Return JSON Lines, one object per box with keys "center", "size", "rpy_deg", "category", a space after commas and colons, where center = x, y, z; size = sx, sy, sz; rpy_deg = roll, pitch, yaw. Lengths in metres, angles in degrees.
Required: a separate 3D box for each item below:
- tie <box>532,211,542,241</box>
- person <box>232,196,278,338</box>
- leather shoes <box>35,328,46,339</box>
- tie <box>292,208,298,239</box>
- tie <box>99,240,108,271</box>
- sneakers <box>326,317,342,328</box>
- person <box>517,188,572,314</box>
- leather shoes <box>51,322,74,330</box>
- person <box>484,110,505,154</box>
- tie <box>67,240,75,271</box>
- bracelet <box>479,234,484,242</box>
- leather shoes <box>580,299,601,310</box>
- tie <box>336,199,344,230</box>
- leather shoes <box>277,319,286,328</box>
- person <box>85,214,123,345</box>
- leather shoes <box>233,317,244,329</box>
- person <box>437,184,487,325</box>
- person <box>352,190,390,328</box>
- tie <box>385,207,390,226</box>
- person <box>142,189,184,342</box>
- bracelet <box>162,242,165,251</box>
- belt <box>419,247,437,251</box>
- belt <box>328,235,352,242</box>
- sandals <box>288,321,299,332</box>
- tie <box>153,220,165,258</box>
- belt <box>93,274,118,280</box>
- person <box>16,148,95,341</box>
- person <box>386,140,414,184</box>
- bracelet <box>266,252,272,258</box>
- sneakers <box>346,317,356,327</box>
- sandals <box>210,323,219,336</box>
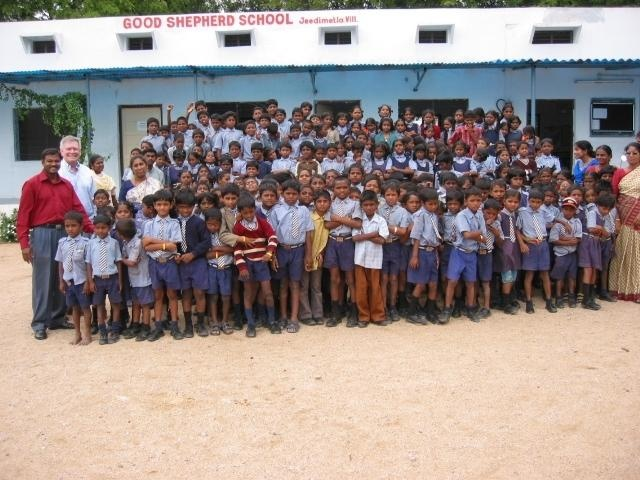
{"center": [3.130, -0.198, 11.035], "size": [0.134, 0.355, 0.084], "rpy_deg": [1, 6, 17], "category": "tie"}
{"center": [-0.847, 0.331, 10.388], "size": [0.608, 1.905, 0.425], "rpy_deg": [-2, 6, -7], "category": "person"}
{"center": [-3.791, 1.269, 10.458], "size": [0.169, 0.126, 0.193], "rpy_deg": [-3, 6, -20], "category": "leather shoes"}
{"center": [-0.321, -0.214, 10.458], "size": [0.084, 0.336, 0.090], "rpy_deg": [-1, 6, 2], "category": "tie"}
{"center": [-2.847, 0.218, 10.133], "size": [0.089, 0.382, 0.075], "rpy_deg": [-2, 6, -7], "category": "tie"}
{"center": [0.196, 1.138, 10.743], "size": [0.082, 0.090, 0.225], "rpy_deg": [-4, -7, 33], "category": "sneakers"}
{"center": [3.160, 0.135, 11.144], "size": [0.582, 1.768, 0.496], "rpy_deg": [0, 6, 7], "category": "person"}
{"center": [-3.604, 1.200, 10.860], "size": [0.343, 0.146, 0.116], "rpy_deg": [4, -2, -14], "category": "leather shoes"}
{"center": [3.155, -1.886, 14.036], "size": [0.363, 0.994, 0.251], "rpy_deg": [6, 27, 23], "category": "person"}
{"center": [-3.298, 0.221, 10.222], "size": [0.103, 0.351, 0.102], "rpy_deg": [0, 6, 9], "category": "tie"}
{"center": [2.239, -0.029, 10.616], "size": [0.030, 0.103, 0.139], "rpy_deg": [3, 7, 33], "category": "bracelet"}
{"center": [3.943, 0.933, 11.205], "size": [0.124, 0.097, 0.225], "rpy_deg": [-6, 7, -38], "category": "leather shoes"}
{"center": [0.291, -0.383, 10.722], "size": [0.041, 0.361, 0.116], "rpy_deg": [7, -18, -26], "category": "tie"}
{"center": [-0.523, 1.141, 10.586], "size": [0.107, 0.063, 0.158], "rpy_deg": [0, -2, 4], "category": "leather shoes"}
{"center": [-2.845, 0.503, 10.213], "size": [0.438, 1.712, 0.331], "rpy_deg": [-2, 6, -7], "category": "person"}
{"center": [-1.121, 1.145, 10.651], "size": [0.149, 0.145, 0.404], "rpy_deg": [0, -1, -4], "category": "leather shoes"}
{"center": [2.016, 0.195, 10.735], "size": [0.675, 1.875, 0.473], "rpy_deg": [-1, 6, 3], "category": "person"}
{"center": [0.705, 0.376, 10.618], "size": [0.480, 1.605, 0.284], "rpy_deg": [-1, 6, 1], "category": "person"}
{"center": [0.967, -0.352, 10.854], "size": [0.050, 0.242, 0.062], "rpy_deg": [8, -21, -6], "category": "tie"}
{"center": [-2.090, 0.321, 10.287], "size": [0.517, 2.001, 0.345], "rpy_deg": [-2, 6, -12], "category": "person"}
{"center": [-2.056, 0.083, 10.121], "size": [0.027, 0.074, 0.065], "rpy_deg": [-2, 16, -3], "category": "bracelet"}
{"center": [1.514, 0.123, 10.664], "size": [0.256, 0.065, 0.071], "rpy_deg": [-3, 6, -17], "category": "belt"}
{"center": [0.296, -0.035, 10.667], "size": [0.307, 0.089, 0.070], "rpy_deg": [-1, 6, -5], "category": "belt"}
{"center": [-0.357, 1.178, 10.487], "size": [0.156, 0.129, 0.165], "rpy_deg": [-1, 6, -3], "category": "sandals"}
{"center": [-2.125, -0.020, 10.170], "size": [0.120, 0.463, 0.071], "rpy_deg": [-1, -11, -9], "category": "tie"}
{"center": [-2.830, 0.473, 10.166], "size": [0.313, 0.070, 0.072], "rpy_deg": [-2, 6, -16], "category": "belt"}
{"center": [-3.592, 0.011, 10.566], "size": [0.919, 2.569, 0.858], "rpy_deg": [-5, 12, -36], "category": "person"}
{"center": [1.310, -1.289, 12.181], "size": [0.438, 0.654, 0.838], "rpy_deg": [0, 6, 5], "category": "person"}
{"center": [-0.673, 0.186, 10.257], "size": [0.076, 0.066, 0.058], "rpy_deg": [-11, 15, -39], "category": "bracelet"}
{"center": [0.446, 1.133, 10.654], "size": [0.112, 0.086, 0.200], "rpy_deg": [-1, -7, 3], "category": "sneakers"}
{"center": [-1.418, 1.213, 10.437], "size": [0.123, 0.059, 0.176], "rpy_deg": [-1, 8, -11], "category": "sandals"}
